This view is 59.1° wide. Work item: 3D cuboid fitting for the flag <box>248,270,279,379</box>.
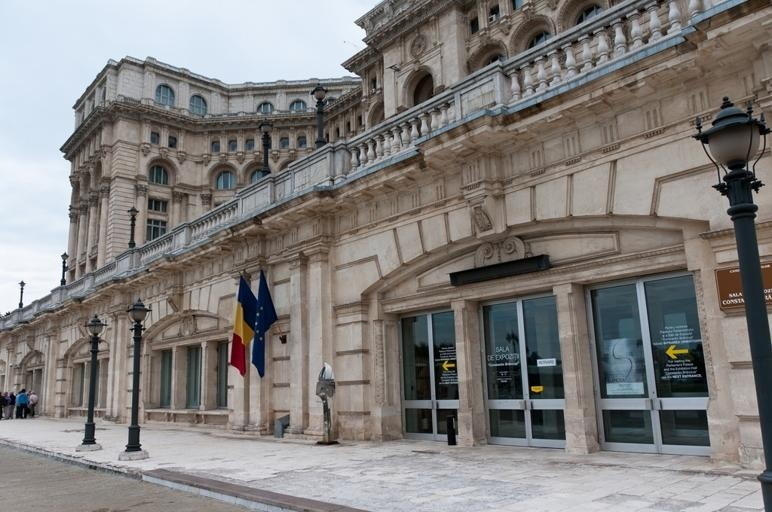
[{"bbox_3d":[-4.432,2.431,24.654,0.857,3.801,0.529,1,-7,-41],"label":"flag"}]
